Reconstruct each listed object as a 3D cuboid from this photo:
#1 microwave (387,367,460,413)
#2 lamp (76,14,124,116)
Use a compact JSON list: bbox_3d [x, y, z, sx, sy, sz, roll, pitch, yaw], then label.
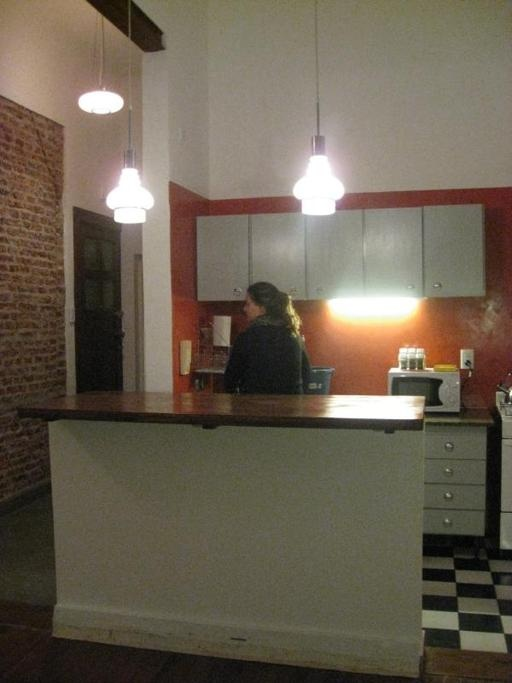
[{"bbox_3d":[1.095,0.312,4.067,0.454,0.269,0.265,0,9,17],"label":"microwave"},{"bbox_3d":[-1.150,-1.983,4.528,0.279,0.609,0.271,-5,2,-38],"label":"lamp"}]
